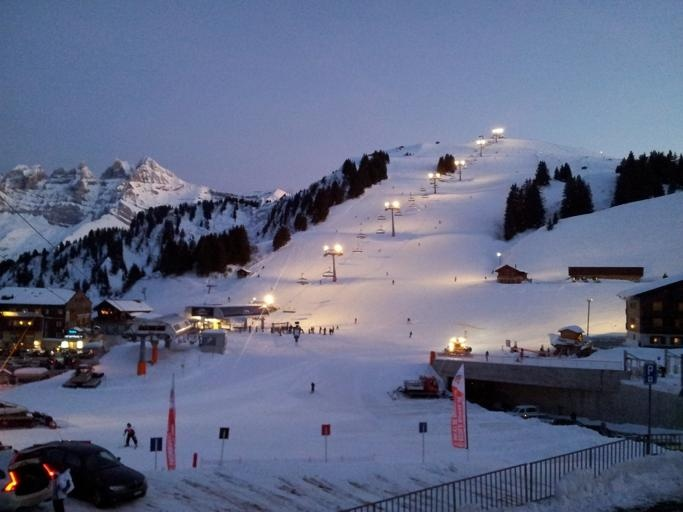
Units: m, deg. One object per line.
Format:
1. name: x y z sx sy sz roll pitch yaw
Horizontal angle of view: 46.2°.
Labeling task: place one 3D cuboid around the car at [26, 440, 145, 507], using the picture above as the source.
1. car: -13.421 11.553 41.691 6.014 2.243 2.867 11 14 20
